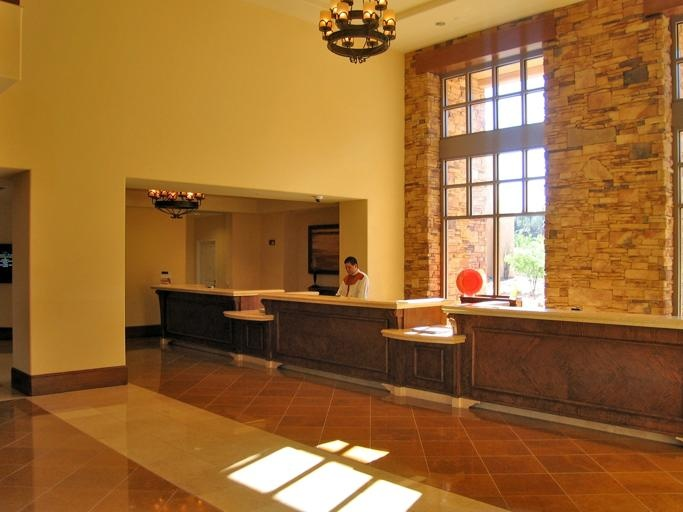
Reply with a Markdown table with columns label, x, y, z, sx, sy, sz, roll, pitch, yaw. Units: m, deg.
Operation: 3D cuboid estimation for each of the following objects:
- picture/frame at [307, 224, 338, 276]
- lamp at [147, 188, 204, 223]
| label | x | y | z | sx | sy | sz | roll | pitch | yaw |
| --- | --- | --- | --- | --- | --- | --- | --- | --- | --- |
| picture/frame | -0.474 | -0.173 | 14.230 | 0.094 | 1.315 | 1.384 | -1 | 2 | -37 |
| lamp | -3.572 | -1.147 | 11.248 | 0.890 | 0.479 | 0.907 | -1 | -1 | 34 |
